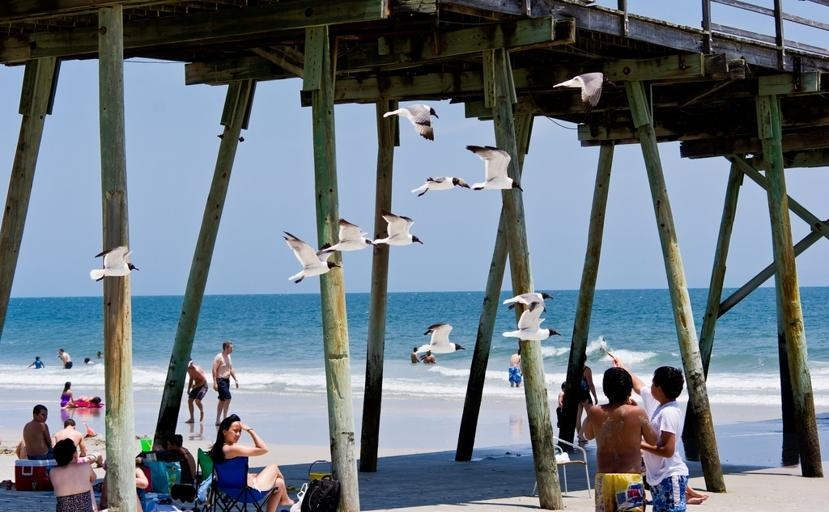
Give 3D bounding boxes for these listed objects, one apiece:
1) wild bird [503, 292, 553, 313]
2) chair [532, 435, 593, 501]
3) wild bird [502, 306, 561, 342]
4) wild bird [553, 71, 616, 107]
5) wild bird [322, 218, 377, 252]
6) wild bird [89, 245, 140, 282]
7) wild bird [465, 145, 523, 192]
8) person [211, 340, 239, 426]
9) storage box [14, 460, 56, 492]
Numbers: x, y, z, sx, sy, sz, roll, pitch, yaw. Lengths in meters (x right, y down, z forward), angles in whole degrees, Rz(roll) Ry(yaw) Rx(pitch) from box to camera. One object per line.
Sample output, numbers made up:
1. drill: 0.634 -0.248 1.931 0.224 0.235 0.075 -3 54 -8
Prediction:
1. wild bird: 2.404 0.923 37.086 0.947 0.305 0.537 -1 -10 3
2. chair: 3.588 4.942 40.487 1.461 2.029 1.373 -7 -8 37
3. wild bird: 2.540 1.390 37.289 0.861 0.458 1.020 13 -18 14
4. wild bird: 3.702 -3.694 37.908 0.980 0.369 1.244 14 24 -8
5. wild bird: -1.414 -0.382 34.468 0.685 0.323 0.766 7 -11 5
6. wild bird: -5.686 0.174 32.928 0.595 0.336 0.692 -2 -8 5
7. wild bird: 1.714 -1.859 37.244 1.300 0.829 0.609 3 -6 -27
8. person: -5.872 4.027 53.999 0.824 2.568 0.901 3 -1 32
9. storage box: -8.639 4.993 39.515 0.716 0.829 1.278 0 -5 1
